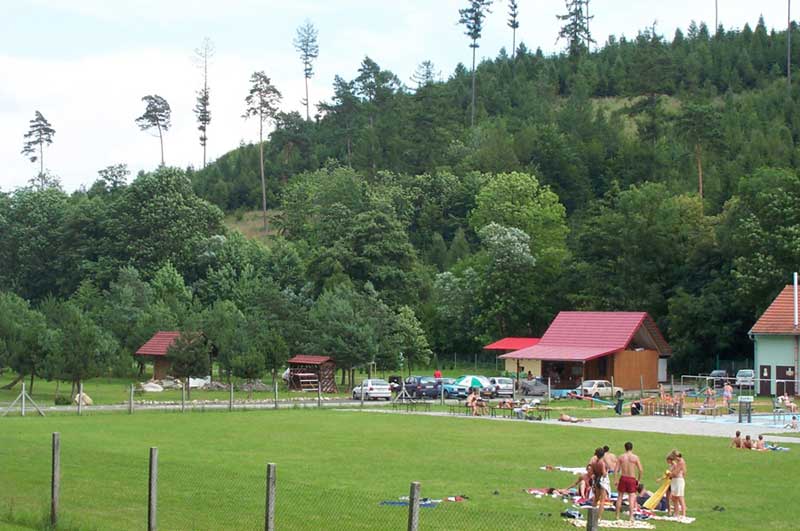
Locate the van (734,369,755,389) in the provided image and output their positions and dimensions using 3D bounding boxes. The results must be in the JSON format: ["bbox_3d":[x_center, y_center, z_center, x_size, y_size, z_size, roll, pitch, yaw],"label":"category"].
[{"bbox_3d":[44.689,14.322,223.896,1.826,1.723,3.292,1,4,23],"label":"van"}]
